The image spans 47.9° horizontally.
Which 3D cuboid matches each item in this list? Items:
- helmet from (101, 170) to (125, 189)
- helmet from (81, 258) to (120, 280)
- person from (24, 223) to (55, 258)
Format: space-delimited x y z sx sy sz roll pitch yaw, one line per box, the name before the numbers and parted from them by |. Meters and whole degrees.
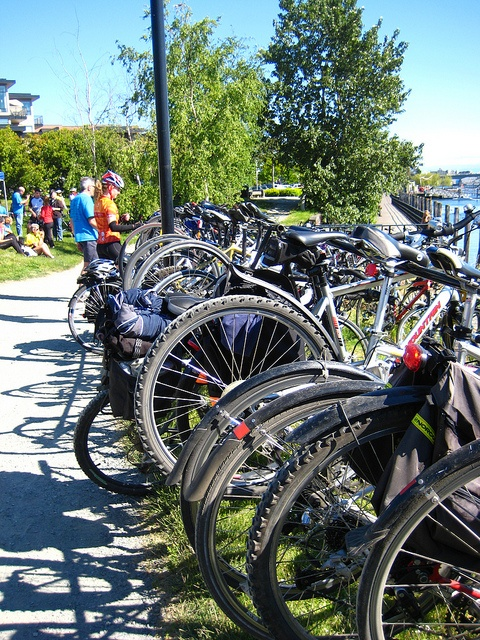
helmet | -1.493 -1.652 6.414 0.280 0.152 0.175 24 38 -6
helmet | -1.381 -0.499 5.386 0.233 0.106 0.322 1 3 10
person | -5.608 -2.208 14.944 0.676 0.872 0.781 -3 12 -16
